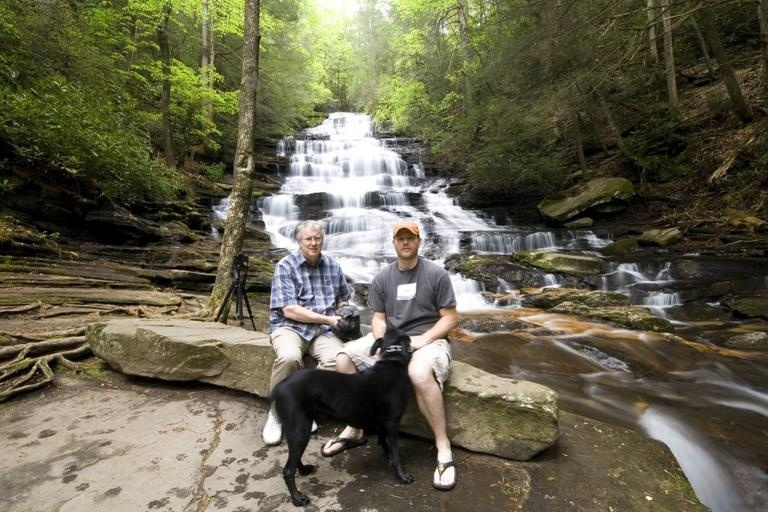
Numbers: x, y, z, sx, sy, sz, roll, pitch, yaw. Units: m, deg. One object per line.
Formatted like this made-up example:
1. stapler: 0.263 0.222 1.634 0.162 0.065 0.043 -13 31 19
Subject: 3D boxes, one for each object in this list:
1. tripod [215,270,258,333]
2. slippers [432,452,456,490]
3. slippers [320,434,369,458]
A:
1. tripod: -2.755 0.691 8.385 0.713 1.339 1.311 0 -4 -15
2. slippers: 0.778 2.725 5.843 0.336 0.138 0.679 7 11 11
3. slippers: -0.538 2.479 6.033 0.719 0.195 0.248 -6 20 -11
